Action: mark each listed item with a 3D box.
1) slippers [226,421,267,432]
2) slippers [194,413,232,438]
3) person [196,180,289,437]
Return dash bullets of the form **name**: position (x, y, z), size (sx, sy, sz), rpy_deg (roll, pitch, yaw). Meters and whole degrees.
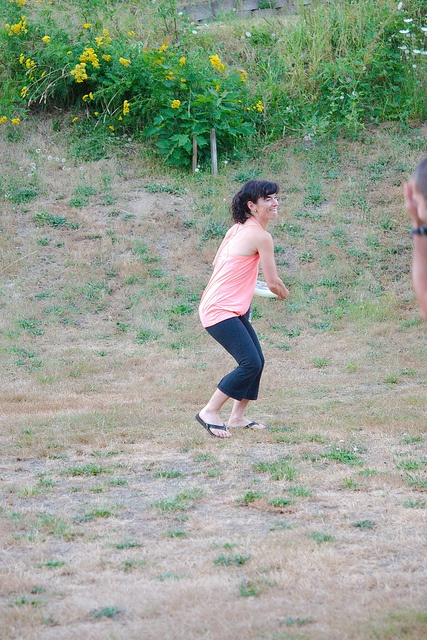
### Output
- **slippers**: position (0.262, 0.858, 7.708), size (0.268, 0.060, 0.105), rpy_deg (-1, -3, 3)
- **slippers**: position (-0.002, 0.846, 7.521), size (0.283, 0.076, 0.120), rpy_deg (40, 5, 13)
- **person**: position (0.194, -0.061, 7.410), size (0.682, 2.003, 0.577), rpy_deg (-16, 18, -40)
